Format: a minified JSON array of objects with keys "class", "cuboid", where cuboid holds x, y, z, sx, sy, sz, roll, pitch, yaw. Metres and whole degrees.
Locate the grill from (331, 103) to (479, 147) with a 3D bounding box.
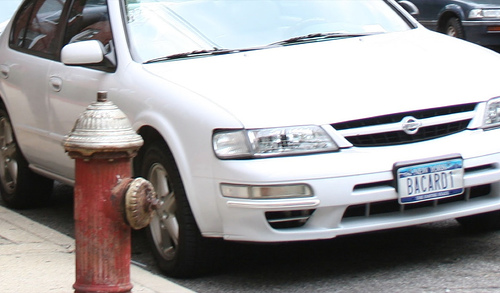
[{"class":"grill","cuboid":[1.207,-0.150,3.510,1.412,0.227,0.089,-8,12,-15]}]
